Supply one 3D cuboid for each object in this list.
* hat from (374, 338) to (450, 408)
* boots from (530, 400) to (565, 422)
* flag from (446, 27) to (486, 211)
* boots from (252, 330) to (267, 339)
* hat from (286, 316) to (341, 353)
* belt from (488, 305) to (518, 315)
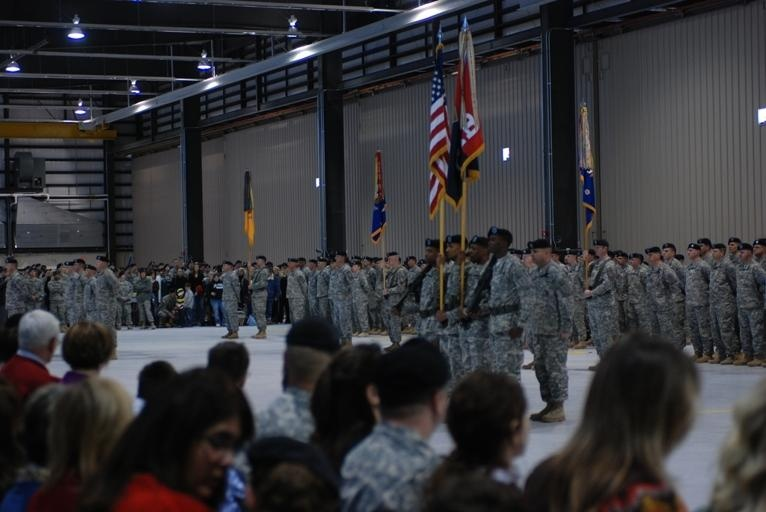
[{"bbox_3d":[0.274,1.183,11.113,0.550,0.656,0.697,-2,13,-11],"label":"hat"},{"bbox_3d":[2.388,2.313,15.990,0.488,0.345,0.231,2,-2,-1],"label":"boots"},{"bbox_3d":[1.249,-2.292,16.953,0.528,3.037,0.783,-1,-2,-17],"label":"flag"},{"bbox_3d":[-2.896,1.862,25.562,0.398,0.286,0.149,3,-3,2],"label":"boots"},{"bbox_3d":[-0.726,0.840,11.698,0.370,0.390,0.457,4,-11,-12],"label":"hat"},{"bbox_3d":[1.752,0.802,15.903,0.468,0.153,0.103,-2,-2,29],"label":"belt"}]
